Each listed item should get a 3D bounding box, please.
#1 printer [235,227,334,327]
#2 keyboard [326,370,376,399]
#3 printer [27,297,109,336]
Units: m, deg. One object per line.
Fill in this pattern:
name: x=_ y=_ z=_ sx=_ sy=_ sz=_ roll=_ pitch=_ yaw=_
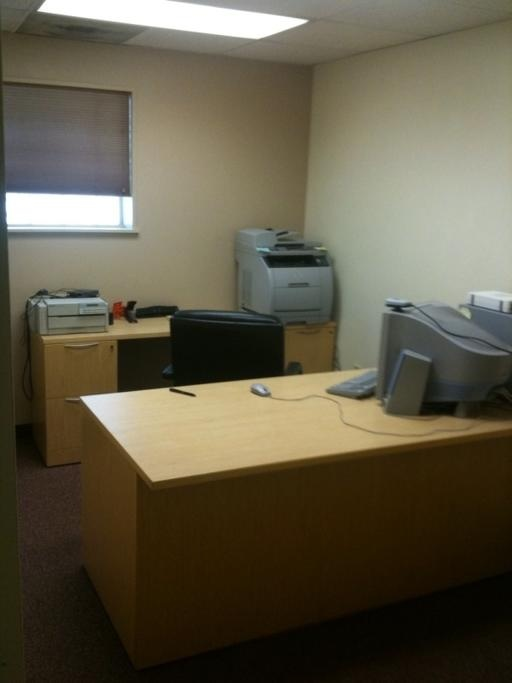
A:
printer: x=0.062 y=-0.551 z=4.271 sx=0.605 sy=0.898 sz=0.785 roll=-3 pitch=11 yaw=-23
keyboard: x=0.425 y=0.178 z=2.261 sx=0.098 sy=0.038 sz=0.178 roll=15 pitch=23 yaw=37
printer: x=-1.226 y=-0.188 z=3.515 sx=0.473 sy=0.228 sz=0.381 roll=-3 pitch=10 yaw=-26
